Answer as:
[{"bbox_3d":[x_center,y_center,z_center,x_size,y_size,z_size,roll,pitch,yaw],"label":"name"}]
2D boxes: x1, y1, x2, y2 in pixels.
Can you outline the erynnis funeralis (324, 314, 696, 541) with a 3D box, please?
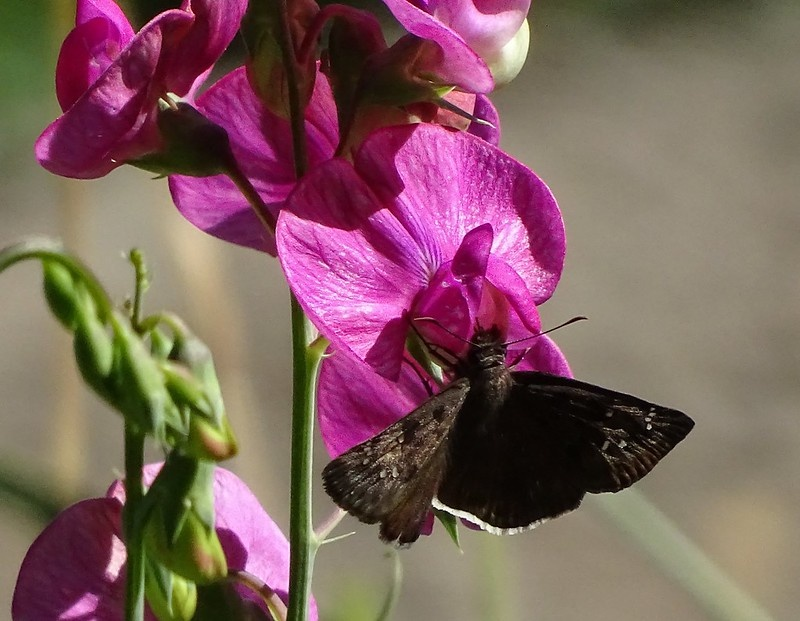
[{"bbox_3d":[0.108,0.129,1.504,0.399,0.146,0.242,-7,64,-13],"label":"erynnis funeralis"}]
